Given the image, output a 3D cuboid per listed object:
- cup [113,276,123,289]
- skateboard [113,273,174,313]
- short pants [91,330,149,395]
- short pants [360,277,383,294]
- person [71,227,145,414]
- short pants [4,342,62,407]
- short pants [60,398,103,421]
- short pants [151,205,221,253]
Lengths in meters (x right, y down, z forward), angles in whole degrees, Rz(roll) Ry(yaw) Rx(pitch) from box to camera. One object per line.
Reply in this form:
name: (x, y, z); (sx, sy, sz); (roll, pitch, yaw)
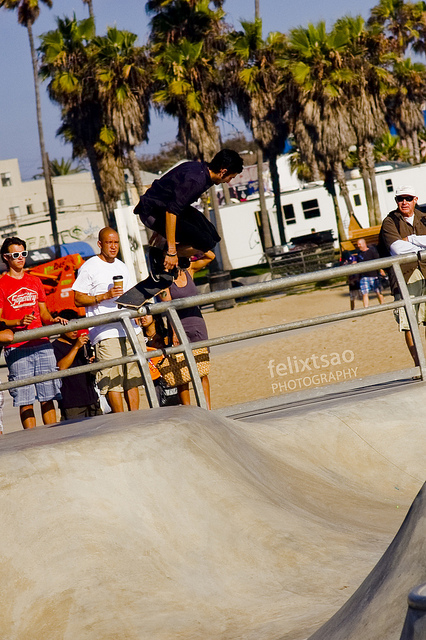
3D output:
cup: (-0.683, -0.265, 6.046); (0.075, 0.108, 0.074); (-1, 4, 0)
skateboard: (-0.455, -0.186, 5.533); (0.184, 0.085, 0.523); (30, 46, 22)
short pants: (-0.662, 0.303, 5.854); (0.385, 0.441, 0.248); (-7, -19, -20)
short pants: (2.468, -0.549, 13.128); (0.316, 0.218, 0.529); (-10, 2, 10)
person: (-0.748, 0.057, 6.322); (0.452, 1.446, 0.559); (-3, 4, 44)
short pants: (-1.353, 0.417, 6.320); (0.459, 0.484, 0.409); (-12, 3, -25)
short pants: (-1.092, 0.738, 6.868); (0.336, 0.167, 0.248); (-11, 2, -9)
short pants: (-0.189, -0.607, 5.856); (0.407, 0.158, 0.304); (24, 9, -9)
